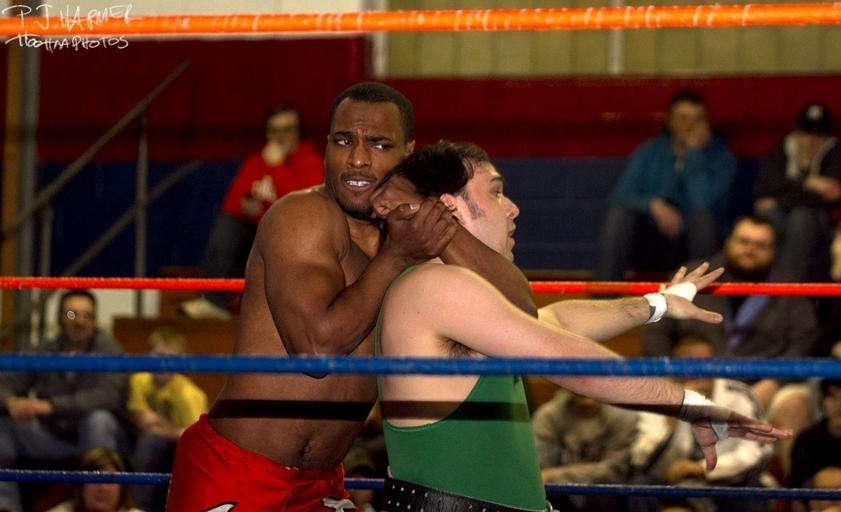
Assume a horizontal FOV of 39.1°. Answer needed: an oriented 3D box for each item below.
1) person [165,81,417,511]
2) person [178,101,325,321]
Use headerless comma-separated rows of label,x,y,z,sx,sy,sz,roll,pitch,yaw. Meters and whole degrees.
person,-0.646,0.207,6.123,1.208,2.267,0.670,1,4,-7
person,-1.152,-0.117,9.010,0.775,1.970,0.622,9,-16,-19
